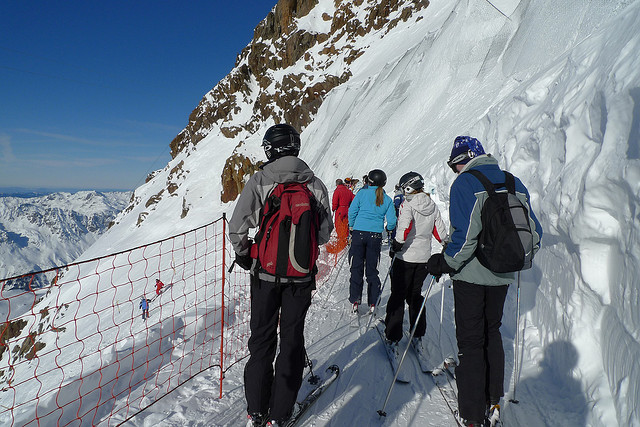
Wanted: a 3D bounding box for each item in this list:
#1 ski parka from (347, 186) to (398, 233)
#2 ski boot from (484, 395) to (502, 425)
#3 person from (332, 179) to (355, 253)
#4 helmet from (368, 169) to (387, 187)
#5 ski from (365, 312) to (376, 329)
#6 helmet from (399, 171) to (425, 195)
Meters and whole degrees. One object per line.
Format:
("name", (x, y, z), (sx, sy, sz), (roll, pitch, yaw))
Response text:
("ski parka", (1.455, -0.106, 13.721), (1.293, 1.284, 0.281), (1, -1, 11))
("ski boot", (4.014, 4.580, 11.514), (0.427, 0.656, 0.153), (2, -1, -6))
("person", (0.786, 0.063, 17.234), (0.684, 2.300, 0.721), (0, -3, -6))
("helmet", (1.561, -0.964, 13.639), (0.366, 0.507, 0.489), (2, 26, -5))
("ski", (1.423, 3.000, 13.668), (0.214, 0.218, 0.361), (10, 4, -7))
("helmet", (2.314, -0.781, 12.631), (0.428, 0.539, 0.574), (-6, 20, -21))
